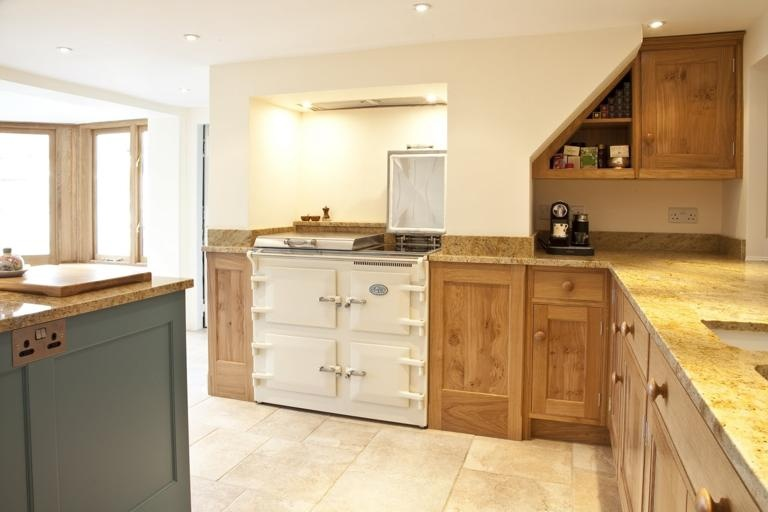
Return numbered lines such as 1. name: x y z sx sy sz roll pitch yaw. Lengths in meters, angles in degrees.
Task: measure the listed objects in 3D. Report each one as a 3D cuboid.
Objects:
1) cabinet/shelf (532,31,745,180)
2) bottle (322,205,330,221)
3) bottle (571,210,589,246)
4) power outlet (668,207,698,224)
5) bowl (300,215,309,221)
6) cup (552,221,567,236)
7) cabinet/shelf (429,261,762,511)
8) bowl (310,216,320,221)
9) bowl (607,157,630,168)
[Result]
1. cabinet/shelf: 1.996 -1.085 3.984 0.522 0.983 1.389 -18 19 -34
2. bottle: -0.503 -0.365 4.552 0.061 0.113 0.130 -2 13 -7
3. bottle: 1.400 -0.181 3.799 0.112 0.205 0.327 4 14 19
4. power outlet: 2.232 -0.301 3.968 0.220 0.146 0.116 0 -2 20
5. bowl: -0.669 -0.318 4.526 0.075 0.044 0.042 -1 13 -4
6. cup: 1.250 -0.183 3.775 0.106 0.074 0.087 2 -1 22
7. cabinet/shelf: 1.067 0.663 2.747 1.408 0.867 0.709 0 -2 22
8. bowl: -0.597 -0.322 4.543 0.047 0.023 0.048 -1 -2 0
9. bowl: 1.663 -0.642 3.770 0.093 0.061 0.093 -1 0 0
